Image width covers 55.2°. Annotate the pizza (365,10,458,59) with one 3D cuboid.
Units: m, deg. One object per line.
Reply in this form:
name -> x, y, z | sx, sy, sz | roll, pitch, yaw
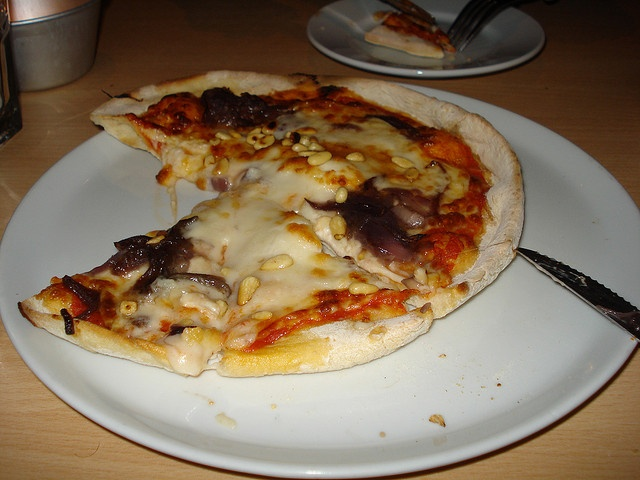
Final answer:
pizza -> 0.498, -1.190, 3.535 | 0.538, 0.066, 0.279 | 23, 58, 35
